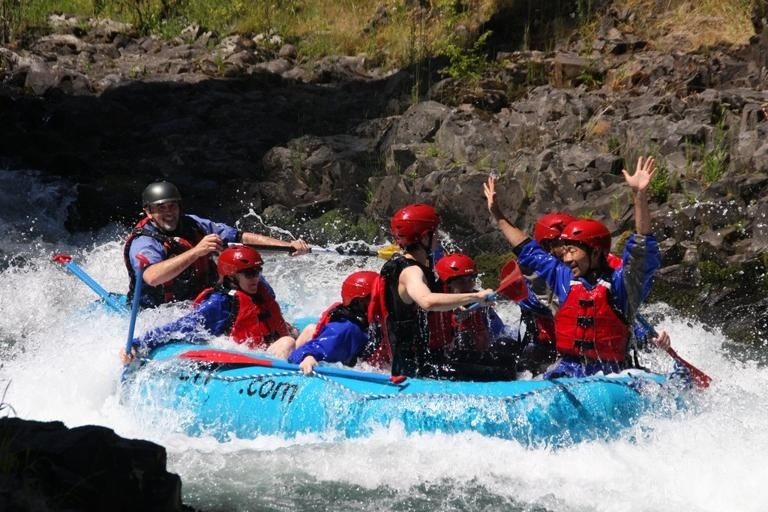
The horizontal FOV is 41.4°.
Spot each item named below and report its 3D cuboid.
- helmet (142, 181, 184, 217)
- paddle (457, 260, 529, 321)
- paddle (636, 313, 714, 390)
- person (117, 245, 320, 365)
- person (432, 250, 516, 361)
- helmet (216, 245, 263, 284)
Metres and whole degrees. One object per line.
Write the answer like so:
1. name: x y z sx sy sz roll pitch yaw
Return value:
1. helmet: -3.520 -0.919 15.896 0.424 0.468 0.486 -18 29 -37
2. paddle: 1.524 0.538 14.014 0.178 0.602 1.035 -14 -18 -45
3. paddle: 4.325 1.446 15.086 0.225 1.286 0.082 -39 -13 -2
4. person: -2.564 0.775 15.353 0.494 1.652 1.519 -31 -14 28
5. person: 1.183 0.698 14.535 1.129 1.617 0.633 -16 5 -27
6. helmet: -2.144 0.096 15.158 0.527 0.484 0.429 12 8 17
